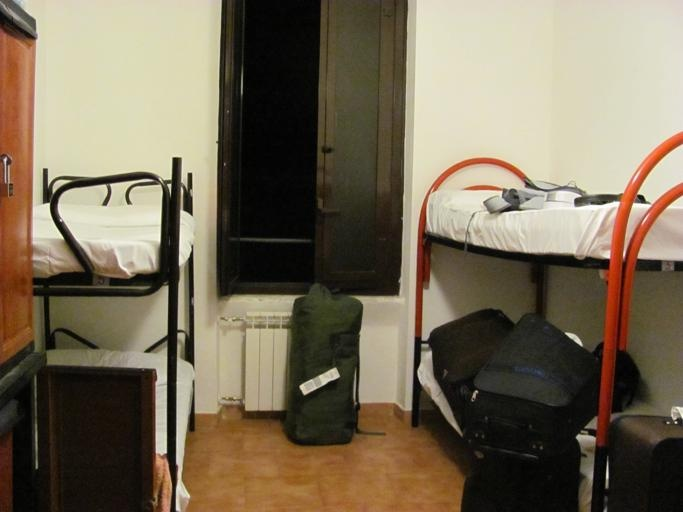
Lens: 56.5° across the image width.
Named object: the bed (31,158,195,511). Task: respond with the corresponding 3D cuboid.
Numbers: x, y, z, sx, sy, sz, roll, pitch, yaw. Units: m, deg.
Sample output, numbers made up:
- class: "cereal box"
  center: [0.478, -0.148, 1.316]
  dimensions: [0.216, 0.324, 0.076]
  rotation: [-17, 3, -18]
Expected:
- class: "bed"
  center: [-0.920, 0.289, 2.520]
  dimensions: [0.508, 1.190, 1.442]
  rotation: [1, 3, -9]
